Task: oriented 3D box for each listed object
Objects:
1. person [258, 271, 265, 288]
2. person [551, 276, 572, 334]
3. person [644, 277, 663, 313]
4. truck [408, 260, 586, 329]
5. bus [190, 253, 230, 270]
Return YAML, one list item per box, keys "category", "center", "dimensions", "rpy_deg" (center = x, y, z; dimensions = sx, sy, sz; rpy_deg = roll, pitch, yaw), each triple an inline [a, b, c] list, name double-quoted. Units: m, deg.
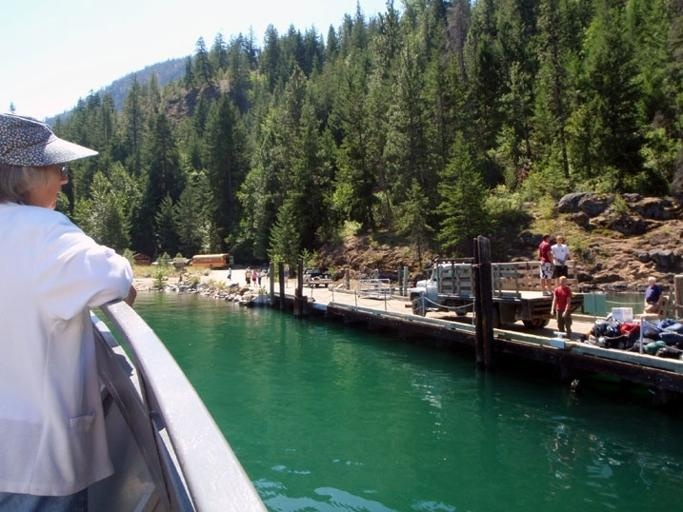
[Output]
- category: "person"
  center: [-6.569, 1.889, 45.021]
  dimensions: [0.682, 0.824, 0.242]
  rpy_deg: [-1, 14, -7]
- category: "person"
  center: [5.258, 1.171, 13.323]
  dimensions: [0.364, 1.419, 1.107]
  rpy_deg: [-2, 3, 19]
- category: "person"
  center: [7.779, 0.906, 13.938]
  dimensions: [0.384, 0.936, 1.726]
  rpy_deg: [-1, 4, 29]
- category: "truck"
  center: [4.235, 1.080, 16.596]
  dimensions: [2.215, 2.028, 4.867]
  rpy_deg: [-2, 3, -29]
- category: "bus"
  center: [-15.451, 0.660, 63.501]
  dimensions: [5.487, 1.569, 2.806]
  rpy_deg: [-2, 4, 33]
